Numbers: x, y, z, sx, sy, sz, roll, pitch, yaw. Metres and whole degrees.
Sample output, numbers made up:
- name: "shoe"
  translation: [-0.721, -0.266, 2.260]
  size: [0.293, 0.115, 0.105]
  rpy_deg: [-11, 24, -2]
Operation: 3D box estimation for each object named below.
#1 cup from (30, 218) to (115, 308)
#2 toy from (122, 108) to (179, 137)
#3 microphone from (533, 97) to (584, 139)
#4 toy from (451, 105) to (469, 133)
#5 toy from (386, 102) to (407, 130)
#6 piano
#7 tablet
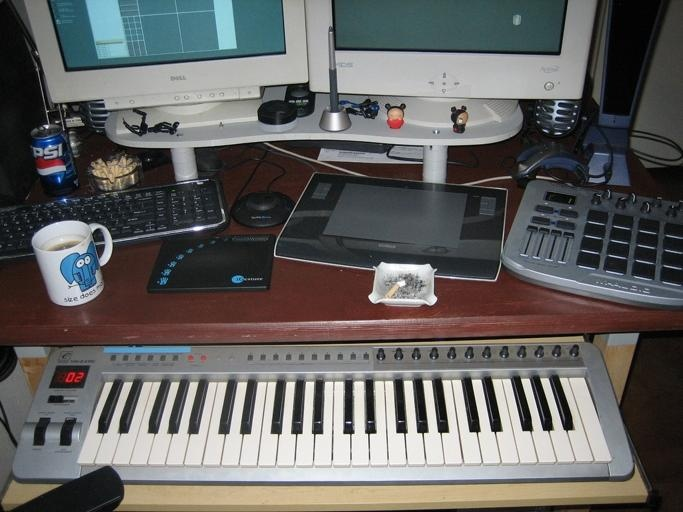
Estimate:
- name: "cup"
  translation: [-0.491, -0.004, 1.074]
  size: [0.105, 0.135, 0.162]
  rpy_deg: [16, 37, 23]
- name: "toy"
  translation: [-0.427, -0.298, 1.280]
  size: [0.099, 0.021, 0.062]
  rpy_deg: [4, 62, -15]
- name: "microphone"
  translation: [0.529, -0.337, 1.387]
  size: [0.093, 0.092, 0.100]
  rpy_deg: [11, 39, 14]
- name: "toy"
  translation: [0.257, -0.296, 1.237]
  size: [0.041, 0.062, 0.036]
  rpy_deg: [-13, 38, -5]
- name: "toy"
  translation: [0.111, -0.308, 1.263]
  size: [0.053, 0.066, 0.049]
  rpy_deg: [0, 37, 2]
- name: "piano"
  translation: [-0.036, 0.278, 1.029]
  size: [1.062, 0.117, 0.230]
  rpy_deg: [0, 34, 0]
- name: "tablet"
  translation: [0.103, -0.055, 1.178]
  size: [0.372, 0.059, 0.283]
  rpy_deg: [1, 30, 3]
